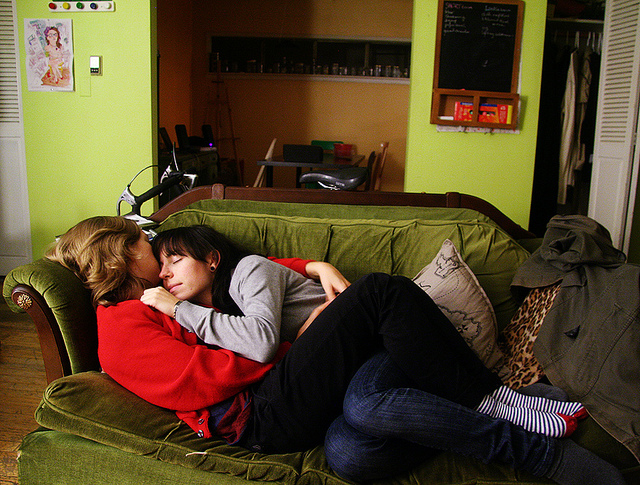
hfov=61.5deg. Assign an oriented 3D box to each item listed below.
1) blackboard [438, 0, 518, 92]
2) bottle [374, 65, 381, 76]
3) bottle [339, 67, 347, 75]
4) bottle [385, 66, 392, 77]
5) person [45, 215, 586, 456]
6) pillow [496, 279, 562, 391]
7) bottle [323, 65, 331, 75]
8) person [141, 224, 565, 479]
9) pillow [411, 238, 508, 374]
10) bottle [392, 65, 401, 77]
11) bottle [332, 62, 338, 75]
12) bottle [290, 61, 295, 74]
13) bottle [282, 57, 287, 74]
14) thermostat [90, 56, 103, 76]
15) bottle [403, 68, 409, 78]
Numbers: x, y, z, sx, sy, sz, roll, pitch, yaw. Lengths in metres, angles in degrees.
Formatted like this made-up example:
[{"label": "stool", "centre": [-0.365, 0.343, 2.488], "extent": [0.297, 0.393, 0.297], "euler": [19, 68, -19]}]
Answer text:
[{"label": "blackboard", "centre": [1.194, -1.529, 4.070], "extent": [0.560, 0.741, 0.032], "euler": [4, 6, -1]}, {"label": "bottle", "centre": [0.768, -2.328, 7.241], "extent": [0.082, 0.128, 0.031], "euler": [0, 1, -2]}, {"label": "bottle", "centre": [0.303, -2.347, 7.311], "extent": [0.107, 0.114, 0.059], "euler": [1, -5, 8]}, {"label": "bottle", "centre": [0.918, -2.320, 7.255], "extent": [0.098, 0.142, 0.121], "euler": [3, 15, 6]}, {"label": "person", "centre": [-0.086, 0.342, 2.260], "extent": [2.024, 1.166, 0.718], "euler": [-6, -5, 3]}, {"label": "pillow", "centre": [0.869, 0.405, 2.285], "extent": [0.098, 0.450, 0.274], "euler": [21, 11, -15]}, {"label": "bottle", "centre": [0.083, -2.372, 7.322], "extent": [0.106, 0.119, 0.076], "euler": [-7, 17, -29]}, {"label": "person", "centre": [0.088, 0.280, 2.280], "extent": [1.690, 0.964, 0.740], "euler": [4, 20, 26]}, {"label": "pillow", "centre": [0.617, 0.302, 2.397], "extent": [0.439, 0.470, 0.140], "euler": [1, -27, -11]}, {"label": "bottle", "centre": [1.029, -2.309, 7.248], "extent": [0.110, 0.126, 0.097], "euler": [3, 15, 6]}, {"label": "bottle", "centre": [0.200, -2.380, 7.321], "extent": [0.070, 0.152, 0.123], "euler": [2, 15, 1]}, {"label": "bottle", "centre": [-0.380, -2.390, 7.324], "extent": [0.062, 0.150, 0.117], "euler": [2, 15, 1]}, {"label": "bottle", "centre": [-0.484, -2.433, 7.340], "extent": [0.060, 0.193, 0.122], "euler": [0, 15, -3]}, {"label": "thermostat", "centre": [-1.718, -1.376, 4.129], "extent": [0.116, 0.176, 0.054], "euler": [1, 10, 1]}, {"label": "bottle", "centre": [1.150, -2.316, 7.282], "extent": [0.066, 0.118, 0.126], "euler": [4, 15, 8]}]
